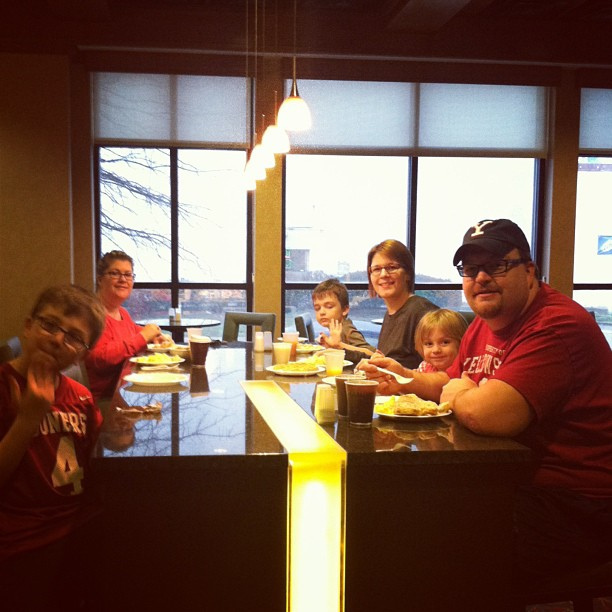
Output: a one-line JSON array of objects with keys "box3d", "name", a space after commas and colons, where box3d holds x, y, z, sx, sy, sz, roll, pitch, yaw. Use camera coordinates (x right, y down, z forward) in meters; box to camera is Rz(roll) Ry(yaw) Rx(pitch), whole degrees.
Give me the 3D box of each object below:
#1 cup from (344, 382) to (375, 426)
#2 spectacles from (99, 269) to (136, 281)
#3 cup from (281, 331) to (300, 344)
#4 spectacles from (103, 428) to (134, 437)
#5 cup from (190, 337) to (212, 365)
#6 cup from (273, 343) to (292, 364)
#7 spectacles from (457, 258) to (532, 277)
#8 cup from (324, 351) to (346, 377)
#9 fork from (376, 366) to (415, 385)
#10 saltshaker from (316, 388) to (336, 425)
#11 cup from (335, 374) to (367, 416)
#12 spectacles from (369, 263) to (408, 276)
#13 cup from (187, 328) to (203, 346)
[{"box3d": [0.138, 0.240, 1.510, 0.099, 0.101, 0.098, 0, -3, 0], "name": "cup"}, {"box3d": [-0.918, -0.150, 2.951, 0.134, 0.052, 0.066, -1, 4, -30], "name": "spectacles"}, {"box3d": [-0.070, 0.146, 2.808, 0.066, 0.046, 0.115, 1, 3, -1], "name": "cup"}, {"box3d": [-0.454, 0.314, 1.491, 0.072, 0.002, 0.048, -1, 4, -27], "name": "spectacles"}, {"box3d": [-0.429, 0.179, 2.464, 0.103, 0.132, 0.103, 0, -5, 0], "name": "cup"}, {"box3d": [-0.103, 0.202, 2.532, 0.083, 0.080, 0.079, 0, 0, 0], "name": "cup"}, {"box3d": [0.522, -0.106, 1.694, 0.198, 0.052, 0.077, 2, 4, 17], "name": "spectacles"}, {"box3d": [0.103, 0.207, 2.124, 0.085, 0.089, 0.088, -2, -3, 0], "name": "cup"}, {"box3d": [0.245, 0.202, 1.819, 0.035, 0.035, 0.223, -23, 13, -23], "name": "fork"}, {"box3d": [0.053, 0.259, 1.562, 0.052, 0.091, 0.032, 0, 4, -4], "name": "saltshaker"}, {"box3d": [0.102, 0.228, 1.598, 0.109, 0.101, 0.103, 0, 4, 0], "name": "cup"}, {"box3d": [0.377, -0.167, 2.804, 0.178, 0.057, 0.091, 1, 4, 13], "name": "spectacles"}, {"box3d": [-0.501, 0.141, 2.750, 0.089, 0.092, 0.092, 1, -2, 0], "name": "cup"}]
